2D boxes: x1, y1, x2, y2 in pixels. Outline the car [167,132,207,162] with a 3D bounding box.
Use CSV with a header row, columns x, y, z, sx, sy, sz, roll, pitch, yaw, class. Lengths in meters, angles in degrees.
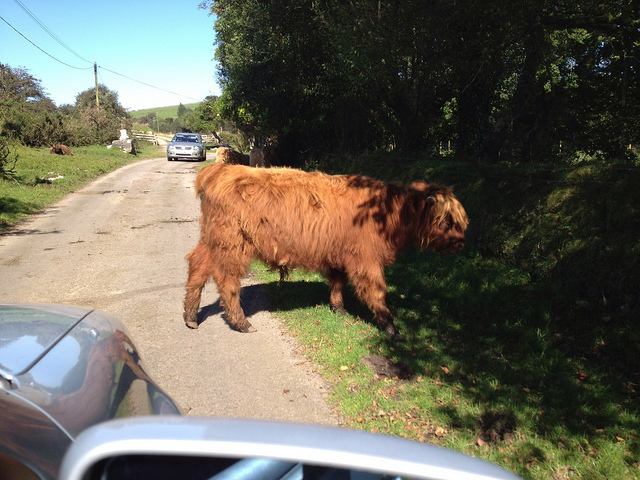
x,y,z,sx,sy,sz,roll,pitch,yaw,class
-8.314,-5.964,30.967,1.304,1.186,3.186,0,7,-7,car
